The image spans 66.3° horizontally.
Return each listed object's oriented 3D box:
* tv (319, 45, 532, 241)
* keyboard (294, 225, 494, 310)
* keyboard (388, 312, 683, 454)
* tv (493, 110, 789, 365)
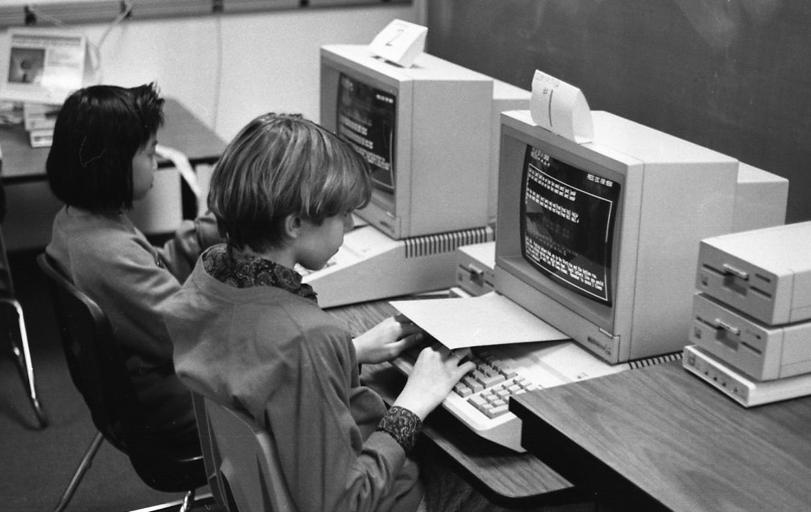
[{"bbox_3d":[0.071,-0.501,2.543,0.635,0.584,0.796,-9,27,-22],"label":"tv"},{"bbox_3d":[-0.074,-0.010,2.220,0.480,0.122,0.333,-6,15,-25],"label":"keyboard"},{"bbox_3d":[0.310,0.325,1.681,0.345,0.123,0.463,-7,14,-23],"label":"keyboard"},{"bbox_3d":[0.721,-0.068,2.008,0.819,0.695,0.694,-9,22,-22],"label":"tv"}]
